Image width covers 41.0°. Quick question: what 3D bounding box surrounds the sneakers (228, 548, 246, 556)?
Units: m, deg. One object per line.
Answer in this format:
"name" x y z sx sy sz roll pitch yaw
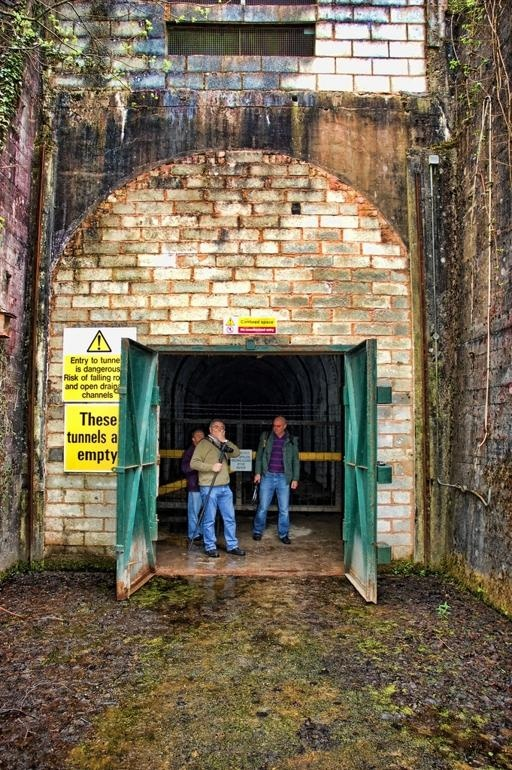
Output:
"sneakers" -0.211 1.885 7.755 0.179 0.078 0.072 -1 -3 22

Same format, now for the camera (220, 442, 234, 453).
"camera" -0.337 0.716 7.839 0.058 0.112 0.149 -23 12 -26

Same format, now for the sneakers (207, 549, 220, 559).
"sneakers" -0.471 1.885 7.607 0.056 0.067 0.149 5 -14 -27

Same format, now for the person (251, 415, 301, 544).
"person" 0.240 1.194 8.667 0.565 1.577 0.612 1 3 7

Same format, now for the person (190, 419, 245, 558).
"person" -0.451 1.165 7.793 0.604 1.490 0.568 0 3 -16

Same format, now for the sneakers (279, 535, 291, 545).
"sneakers" 0.366 1.923 8.499 0.134 0.071 0.236 1 3 -1
